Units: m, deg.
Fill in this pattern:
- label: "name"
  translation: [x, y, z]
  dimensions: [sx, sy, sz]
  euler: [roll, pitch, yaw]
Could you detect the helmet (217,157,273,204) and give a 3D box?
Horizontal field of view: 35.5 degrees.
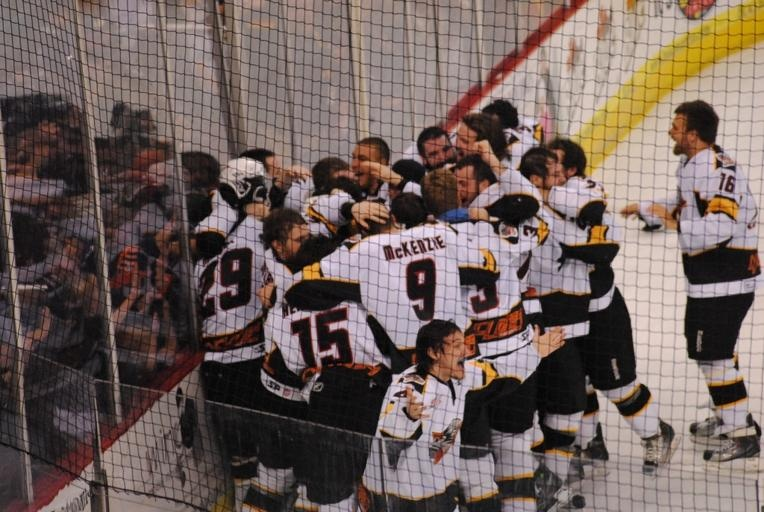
- label: "helmet"
  translation: [-0.937, -0.550, 8.185]
  dimensions: [0.341, 0.351, 0.254]
  euler: [-22, 22, -24]
